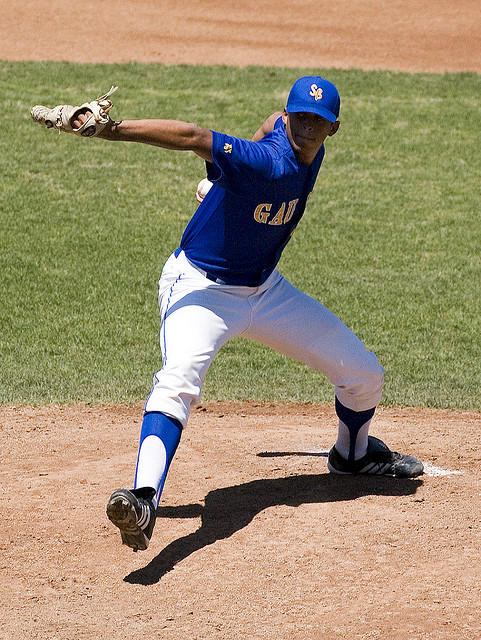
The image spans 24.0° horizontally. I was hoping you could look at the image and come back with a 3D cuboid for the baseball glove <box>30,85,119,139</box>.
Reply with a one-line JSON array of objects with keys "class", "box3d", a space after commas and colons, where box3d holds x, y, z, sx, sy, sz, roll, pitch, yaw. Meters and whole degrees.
[{"class": "baseball glove", "box3d": [-0.752, -0.900, 5.012, 0.402, 0.187, 0.228, 2, 12, 8]}]
